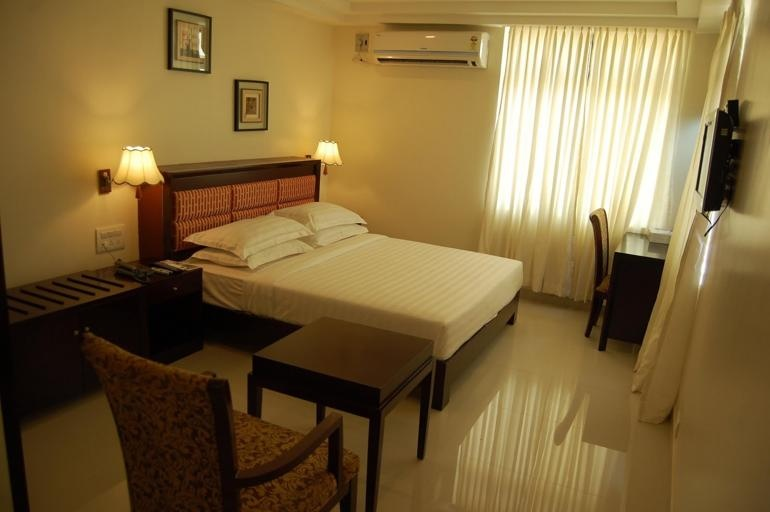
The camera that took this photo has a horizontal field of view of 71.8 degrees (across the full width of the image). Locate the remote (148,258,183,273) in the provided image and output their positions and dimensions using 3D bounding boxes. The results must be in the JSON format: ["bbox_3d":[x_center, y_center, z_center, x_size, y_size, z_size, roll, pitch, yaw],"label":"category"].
[{"bbox_3d":[-1.818,0.091,4.484,0.148,0.044,0.155,13,19,19],"label":"remote"}]

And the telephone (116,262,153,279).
[{"bbox_3d":[-2.033,0.122,4.303,0.221,0.089,0.171,11,21,18],"label":"telephone"}]

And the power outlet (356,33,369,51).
[{"bbox_3d":[-0.276,-2.678,6.661,0.182,0.230,0.023,10,10,25],"label":"power outlet"}]

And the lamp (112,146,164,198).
[{"bbox_3d":[-2.060,-0.753,4.537,0.367,0.388,0.363,-13,27,-37],"label":"lamp"}]

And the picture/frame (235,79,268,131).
[{"bbox_3d":[-1.455,-1.642,5.747,0.036,0.500,0.490,11,23,25],"label":"picture/frame"}]

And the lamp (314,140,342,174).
[{"bbox_3d":[-0.720,-1.235,6.687,0.356,0.383,0.352,-17,27,-42],"label":"lamp"}]

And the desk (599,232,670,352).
[{"bbox_3d":[2.335,0.366,4.962,0.289,0.581,0.947,9,25,23],"label":"desk"}]

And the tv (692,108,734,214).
[{"bbox_3d":[2.062,-0.581,3.303,0.182,0.616,0.546,13,21,29],"label":"tv"}]

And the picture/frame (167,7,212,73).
[{"bbox_3d":[-1.849,-2.041,4.993,0.040,0.632,0.623,7,11,28],"label":"picture/frame"}]

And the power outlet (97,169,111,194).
[{"bbox_3d":[-2.364,-0.627,4.497,0.116,0.206,0.058,-12,23,-37],"label":"power outlet"}]

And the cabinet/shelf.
[{"bbox_3d":[-2.117,0.594,3.589,0.454,0.709,0.862,9,21,23],"label":"cabinet/shelf"}]

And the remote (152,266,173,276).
[{"bbox_3d":[-1.844,0.122,4.399,0.226,0.019,0.089,13,22,25],"label":"remote"}]

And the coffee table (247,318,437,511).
[{"bbox_3d":[-0.251,0.708,3.496,1.051,1.025,1.069,9,18,20],"label":"coffee table"}]
